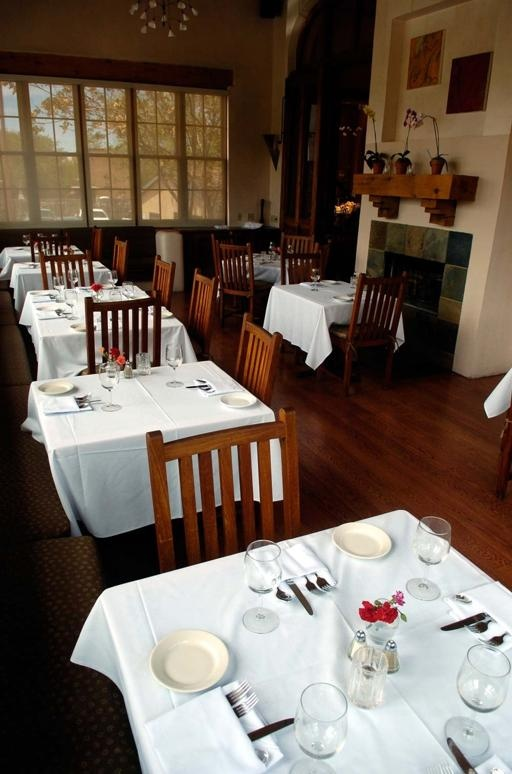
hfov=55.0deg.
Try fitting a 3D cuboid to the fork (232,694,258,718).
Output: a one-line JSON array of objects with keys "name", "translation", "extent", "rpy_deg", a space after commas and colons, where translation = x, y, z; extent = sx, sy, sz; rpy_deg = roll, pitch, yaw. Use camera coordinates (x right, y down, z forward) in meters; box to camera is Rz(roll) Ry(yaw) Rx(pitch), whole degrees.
[{"name": "fork", "translation": [-0.016, 0.475, 0.730], "extent": [0.038, 0.005, 0.026], "rpy_deg": [-5, 11, -25]}]

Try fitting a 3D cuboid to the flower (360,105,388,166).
[{"name": "flower", "translation": [1.260, -2.645, 5.218], "extent": [0.271, 0.730, 0.457], "rpy_deg": [2, 10, 14]}]

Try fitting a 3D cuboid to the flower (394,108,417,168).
[{"name": "flower", "translation": [1.477, -2.431, 4.883], "extent": [0.239, 0.655, 0.544], "rpy_deg": [2, 10, 15]}]

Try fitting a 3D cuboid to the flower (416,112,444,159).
[{"name": "flower", "translation": [1.671, -2.415, 4.699], "extent": [0.062, 0.438, 0.319], "rpy_deg": [-3, 10, -17]}]
